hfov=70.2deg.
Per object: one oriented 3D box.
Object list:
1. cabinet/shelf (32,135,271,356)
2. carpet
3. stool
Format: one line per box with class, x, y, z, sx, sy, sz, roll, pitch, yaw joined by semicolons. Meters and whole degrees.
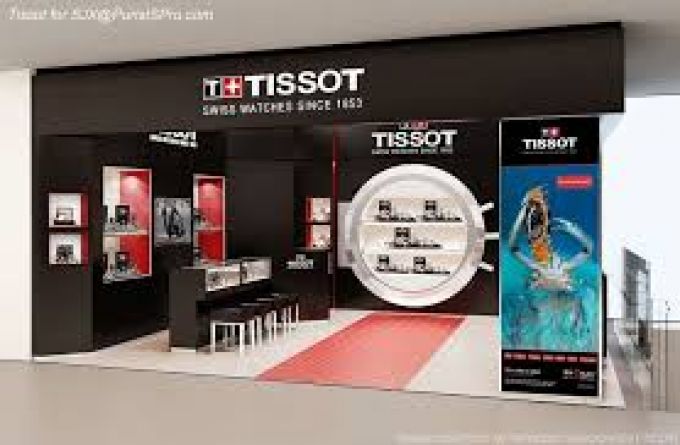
cabinet/shelf;-3.597;0.257;7.749;1.449;2.919;2.689;2;3;13
carpet;0.608;2.039;7.938;1.943;0.093;4.114;2;4;26
stool;-1.522;1.668;8.167;0.610;0.802;1.985;0;-1;20
